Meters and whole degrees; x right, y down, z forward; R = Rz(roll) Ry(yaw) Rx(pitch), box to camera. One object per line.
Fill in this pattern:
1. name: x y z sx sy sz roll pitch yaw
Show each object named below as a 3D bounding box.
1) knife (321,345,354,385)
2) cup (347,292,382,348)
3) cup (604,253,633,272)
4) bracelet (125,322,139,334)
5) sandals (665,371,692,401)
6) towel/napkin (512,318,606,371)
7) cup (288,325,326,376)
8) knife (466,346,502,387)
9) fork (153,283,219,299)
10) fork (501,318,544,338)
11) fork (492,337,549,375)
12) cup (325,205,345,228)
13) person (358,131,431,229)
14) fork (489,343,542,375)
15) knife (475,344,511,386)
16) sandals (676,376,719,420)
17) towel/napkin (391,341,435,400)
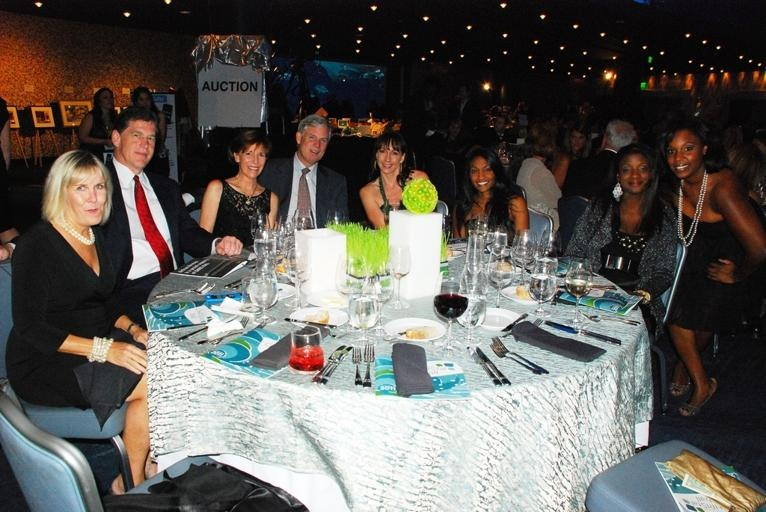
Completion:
1. knife: -0.171 0.388 1.719 0.041 0.031 0.226 12 17 9
2. cup: -0.076 0.247 1.835 0.167 0.258 0.176 0 3 0
3. cup: 1.656 0.035 3.348 0.120 0.157 0.161 -13 17 -18
4. bracelet: -1.267 0.359 2.390 0.056 0.022 0.056 5 4 -40
5. sandals: 2.157 0.924 3.448 0.097 0.076 0.277 -7 20 36
6. towel/napkin: 0.662 0.331 1.852 0.136 0.047 0.266 -10 17 -40
7. cup: -0.269 0.347 1.760 0.147 0.137 0.146 2 3 0
8. knife: 0.371 0.393 1.720 0.033 0.026 0.220 -28 21 1
9. fork: -0.942 0.166 2.285 0.306 0.052 0.080 -2 20 -13
10. fork: 0.603 0.277 2.007 0.263 0.028 0.070 -13 31 -34
11. fork: 0.502 0.378 1.772 0.065 0.036 0.247 -25 35 -27
12. cup: -0.275 -0.231 2.755 0.165 0.160 0.163 1 6 0
13. person: 0.063 -0.696 4.206 0.498 0.808 0.329 1 18 -10
14. fork: 0.490 0.377 1.778 0.058 0.032 0.225 -30 42 -26
15. knife: 0.396 0.384 1.709 0.036 0.029 0.205 -16 25 -4
16. sandals: 2.154 0.978 3.229 0.461 0.068 0.139 -34 18 -27
17. towel/napkin: 0.100 0.396 1.691 0.135 0.053 0.233 1 26 -10
